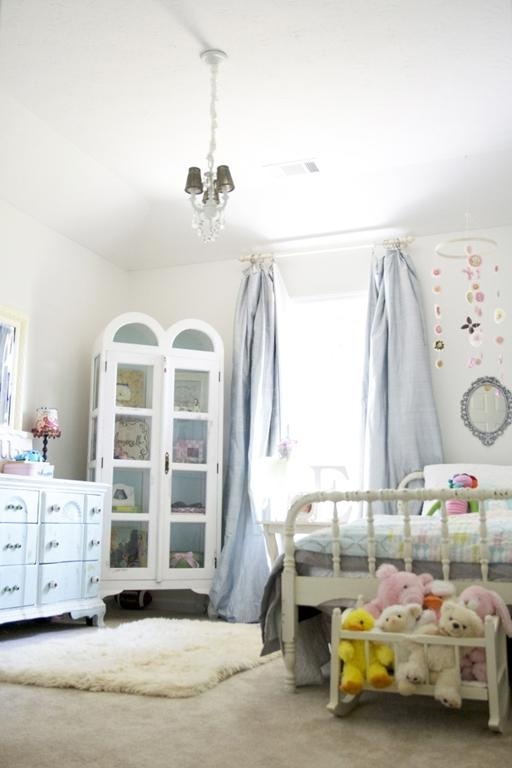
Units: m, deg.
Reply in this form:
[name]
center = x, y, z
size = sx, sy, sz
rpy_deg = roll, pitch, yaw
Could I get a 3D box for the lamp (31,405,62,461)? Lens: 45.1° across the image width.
[lamp]
center = -1.248, 0.287, 3.688
size = 0.196, 0.278, 0.201
rpy_deg = 14, 9, 15

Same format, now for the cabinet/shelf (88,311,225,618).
[cabinet/shelf]
center = -0.626, 0.496, 4.225
size = 0.822, 1.887, 0.459
rpy_deg = 1, -2, 1
